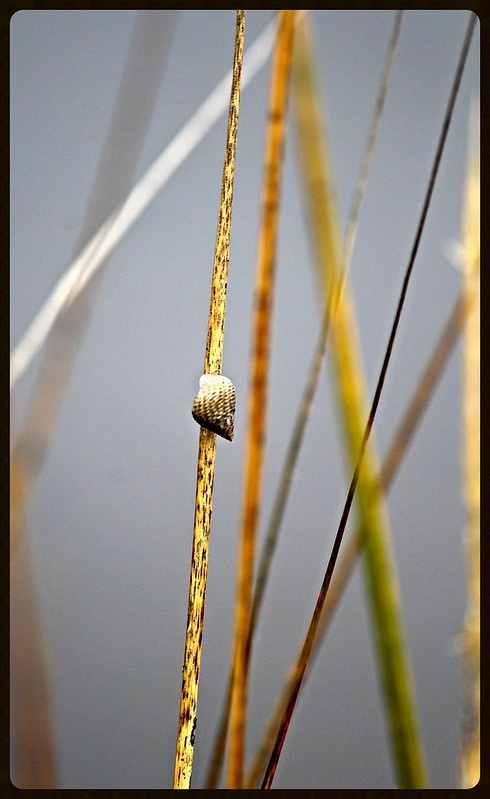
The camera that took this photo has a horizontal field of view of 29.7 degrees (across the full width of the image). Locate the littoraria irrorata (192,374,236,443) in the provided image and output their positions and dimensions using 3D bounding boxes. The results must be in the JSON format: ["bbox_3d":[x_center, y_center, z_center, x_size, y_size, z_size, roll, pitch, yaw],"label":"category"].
[{"bbox_3d":[-0.028,0.012,0.832,0.014,0.042,0.055,-5,-74,50],"label":"littoraria irrorata"}]
